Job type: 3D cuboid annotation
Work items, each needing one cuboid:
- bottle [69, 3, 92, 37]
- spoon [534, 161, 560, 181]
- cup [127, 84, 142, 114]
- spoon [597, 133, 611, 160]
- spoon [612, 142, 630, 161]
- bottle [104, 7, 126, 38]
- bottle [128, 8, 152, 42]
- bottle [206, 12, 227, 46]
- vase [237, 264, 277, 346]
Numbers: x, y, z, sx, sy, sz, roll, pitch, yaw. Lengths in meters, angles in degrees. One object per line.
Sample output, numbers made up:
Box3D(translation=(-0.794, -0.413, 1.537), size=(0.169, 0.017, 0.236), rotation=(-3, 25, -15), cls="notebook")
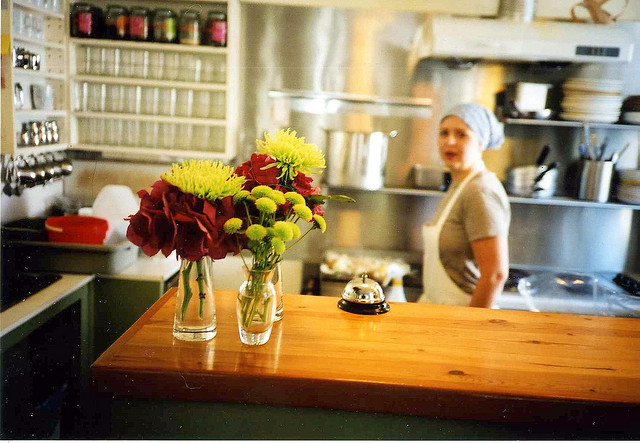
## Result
Box3D(translation=(-0.760, -0.588, 1.595), size=(0.074, 0.096, 0.010), rotation=(1, 11, 5), cls="bottle")
Box3D(translation=(0.742, -0.135, 1.639), size=(0.074, 0.061, 0.006), rotation=(0, 11, -4), cls="spoon")
Box3D(translation=(-0.610, -0.353, 1.639), size=(0.038, 0.112, 0.028), rotation=(-4, -30, -18), cls="cup")
Box3D(translation=(0.923, -0.209, 1.628), size=(0.043, 0.077, 0.008), rotation=(-4, 12, -23), cls="spoon")
Box3D(translation=(0.984, -0.198, 1.634), size=(0.045, 0.054, 0.003), rotation=(0, 11, -1), cls="spoon")
Box3D(translation=(-0.653, -0.581, 1.599), size=(0.071, 0.087, 0.015), rotation=(2, 12, 9), cls="bottle")
Box3D(translation=(-0.573, -0.575, 1.596), size=(0.076, 0.095, 0.012), rotation=(2, 12, 8), cls="bottle")
Box3D(translation=(-0.343, -0.569, 1.613), size=(0.088, 0.118, 0.074), rotation=(2, 21, -9), cls="bottle")
Box3D(translation=(-0.162, 0.229, 1.345), size=(0.109, 0.209, 0.068), rotation=(-6, 13, -29), cls="vase")
